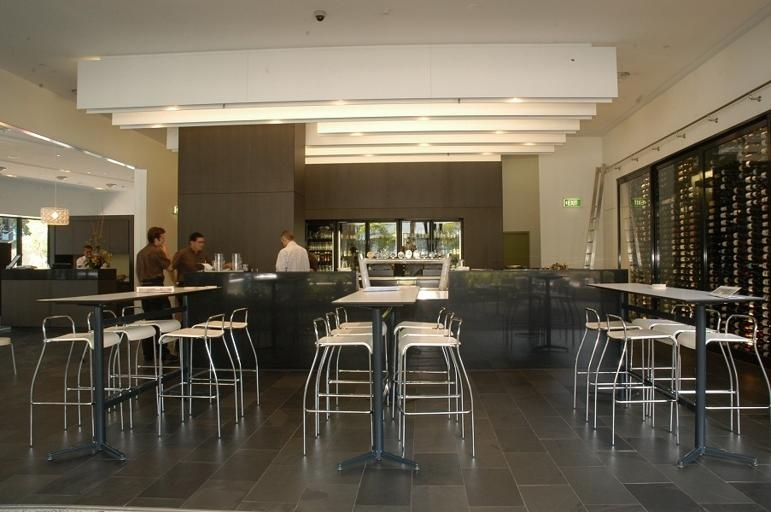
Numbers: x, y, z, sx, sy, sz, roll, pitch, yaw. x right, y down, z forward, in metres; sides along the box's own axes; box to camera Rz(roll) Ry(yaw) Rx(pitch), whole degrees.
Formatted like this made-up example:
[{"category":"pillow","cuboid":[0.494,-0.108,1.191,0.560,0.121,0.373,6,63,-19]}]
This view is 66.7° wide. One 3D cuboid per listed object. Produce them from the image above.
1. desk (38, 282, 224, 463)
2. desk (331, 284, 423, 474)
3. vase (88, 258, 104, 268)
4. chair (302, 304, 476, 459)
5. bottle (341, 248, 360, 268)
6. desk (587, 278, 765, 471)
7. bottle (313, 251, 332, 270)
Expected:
[{"category":"desk","cuboid":[-2.975,1.286,7.510,0.803,1.525,2.501,-4,-1,8]},{"category":"desk","cuboid":[-0.089,1.442,7.103,0.865,1.760,2.034,-2,-5,-1]},{"category":"vase","cuboid":[-5.745,0.171,11.710,0.253,0.177,0.229,3,-9,-19]},{"category":"chair","cuboid":[0.138,1.495,7.219,1.694,1.235,1.788,0,-2,2]},{"category":"bottle","cuboid":[-0.717,0.060,12.276,0.401,0.386,0.130,0,-14,2]},{"category":"desk","cuboid":[3.429,1.291,6.685,0.953,1.866,1.135,0,-2,-6]},{"category":"bottle","cuboid":[-1.303,0.107,12.460,0.459,0.391,0.382,0,-2,-9]}]
